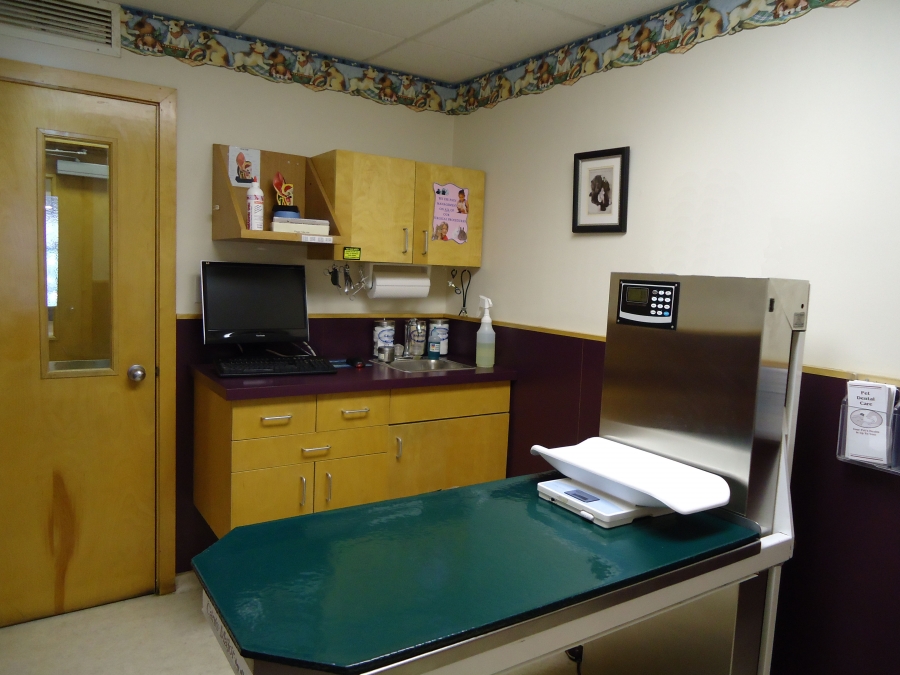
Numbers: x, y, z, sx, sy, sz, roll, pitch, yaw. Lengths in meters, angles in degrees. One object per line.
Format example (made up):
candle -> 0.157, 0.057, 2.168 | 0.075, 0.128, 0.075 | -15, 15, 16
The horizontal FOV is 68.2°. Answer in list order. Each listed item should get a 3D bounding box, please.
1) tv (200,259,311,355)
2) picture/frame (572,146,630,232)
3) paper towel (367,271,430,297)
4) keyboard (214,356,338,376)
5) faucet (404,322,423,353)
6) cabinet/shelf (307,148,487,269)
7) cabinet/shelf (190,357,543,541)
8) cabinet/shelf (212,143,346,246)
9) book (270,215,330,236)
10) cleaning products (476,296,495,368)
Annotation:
tv -> -1.063, -0.171, 3.563 | 0.477, 0.415, 0.062 | 2, -7, -32
picture/frame -> 0.770, -0.752, 3.348 | 0.041, 0.558, 0.427 | 0, 1, -40
paper towel -> -0.287, -0.325, 3.921 | 0.314, 0.150, 0.146 | -2, 7, -24
keyboard -> -0.904, 0.141, 3.449 | 0.571, 0.089, 0.307 | -5, 10, -26
faucet -> -0.214, -0.001, 4.131 | 0.128, 0.220, 0.078 | -1, 8, -5
cabinet/shelf -> -0.180, -0.783, 3.905 | 1.013, 0.645, 0.400 | 11, 30, 1
cabinet/shelf -> -0.433, 0.521, 3.742 | 1.559, 0.848, 0.623 | -2, 20, -24
cabinet/shelf -> -0.882, -0.763, 3.519 | 0.346, 0.527, 0.610 | -1, 2, 44
book -> -0.758, -0.570, 3.386 | 0.277, 0.098, 0.109 | -3, 9, -18
cleaning products -> 0.209, -0.033, 3.918 | 0.106, 0.404, 0.151 | 0, 8, 2
